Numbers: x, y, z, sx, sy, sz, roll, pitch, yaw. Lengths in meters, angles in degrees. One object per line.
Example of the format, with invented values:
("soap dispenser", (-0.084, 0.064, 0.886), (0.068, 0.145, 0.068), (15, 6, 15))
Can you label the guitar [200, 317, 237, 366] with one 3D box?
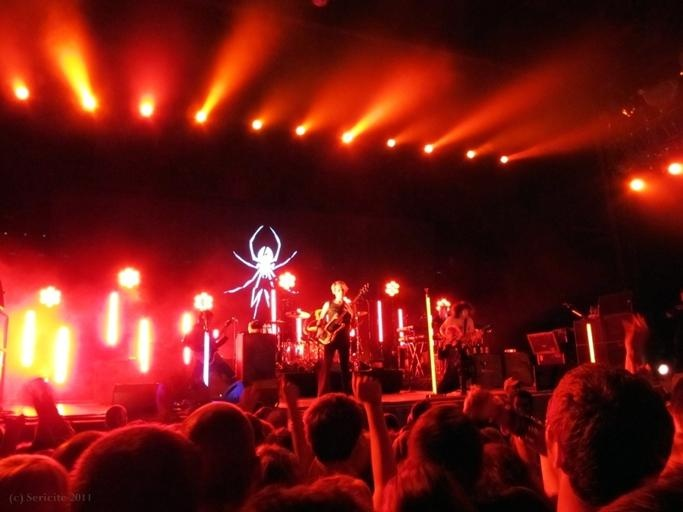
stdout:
("guitar", (-2.628, 1.665, 11.231), (0.315, 1.087, 0.355), (-16, -27, -25))
